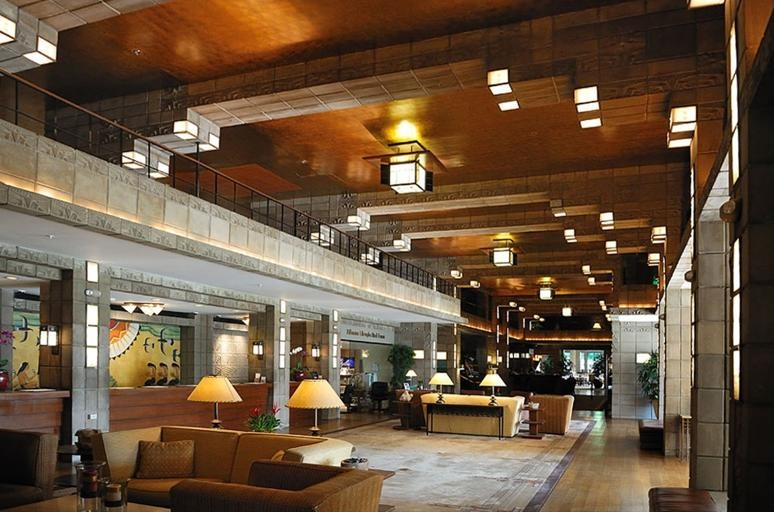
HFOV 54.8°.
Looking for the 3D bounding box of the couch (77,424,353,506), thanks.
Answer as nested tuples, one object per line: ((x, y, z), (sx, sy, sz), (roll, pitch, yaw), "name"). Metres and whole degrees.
((-2.540, 3.324, 11.041), (4.029, 1.377, 2.272), (-3, -8, 21), "couch")

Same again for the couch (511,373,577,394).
((7.968, 6.542, 38.208), (2.795, 1.164, 2.907), (-4, -14, 19), "couch")

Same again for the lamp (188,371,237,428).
((-2.695, 2.332, 11.725), (0.891, 0.770, 0.847), (5, -9, -38), "lamp")

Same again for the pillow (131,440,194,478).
((-3.309, 3.033, 11.168), (0.922, 0.575, 0.330), (-2, -4, 7), "pillow")

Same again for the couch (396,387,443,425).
((0.854, 4.275, 20.947), (1.116, 1.141, 1.152), (-1, -4, 26), "couch")

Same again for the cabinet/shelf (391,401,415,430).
((0.399, 4.437, 20.900), (0.806, 0.685, 0.780), (0, -1, 18), "cabinet/shelf")

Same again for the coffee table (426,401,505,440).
((1.912, 4.164, 19.121), (2.399, 0.792, 1.219), (-1, -5, 19), "coffee table")

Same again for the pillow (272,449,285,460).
((-1.441, 2.659, 9.953), (0.148, 0.104, 0.414), (2, -13, -8), "pillow")
